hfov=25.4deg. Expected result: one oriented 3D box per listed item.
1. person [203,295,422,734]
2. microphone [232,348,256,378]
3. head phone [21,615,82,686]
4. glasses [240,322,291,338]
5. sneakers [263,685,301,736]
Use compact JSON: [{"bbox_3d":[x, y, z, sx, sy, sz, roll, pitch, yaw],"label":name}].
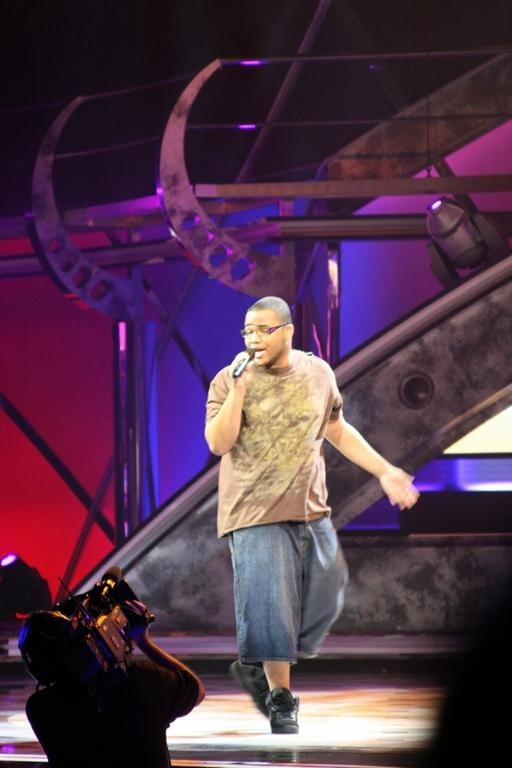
[{"bbox_3d":[0.147,0.418,3.768,0.658,1.395,0.410,-1,-2,-28],"label":"person"},{"bbox_3d":[-0.031,-0.056,3.505,0.031,0.037,0.141,-4,19,14],"label":"microphone"},{"bbox_3d":[-0.498,0.619,2.728,0.167,0.141,0.122,3,-13,18],"label":"head phone"},{"bbox_3d":[0.036,-0.171,3.680,0.159,0.048,0.068,-2,-2,3],"label":"glasses"},{"bbox_3d":[0.088,1.035,3.624,0.099,0.127,0.177,-2,-2,-1],"label":"sneakers"}]
